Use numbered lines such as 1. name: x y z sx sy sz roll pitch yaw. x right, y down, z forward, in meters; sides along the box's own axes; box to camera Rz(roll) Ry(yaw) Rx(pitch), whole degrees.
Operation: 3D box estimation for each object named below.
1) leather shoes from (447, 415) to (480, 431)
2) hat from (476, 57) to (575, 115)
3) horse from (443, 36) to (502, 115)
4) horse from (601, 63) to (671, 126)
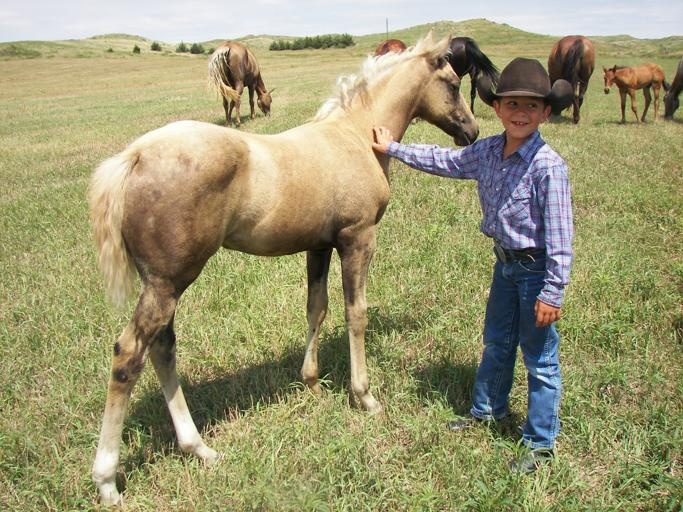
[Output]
1. leather shoes: 1.154 1.604 5.534 0.357 0.173 0.123 2 4 -21
2. hat: 1.709 -1.630 5.277 0.808 0.364 0.912 4 14 2
3. horse: 3.619 -5.729 16.760 0.767 2.223 3.252 -20 24 2
4. horse: 9.492 -5.273 18.402 2.705 1.825 0.637 -11 13 -14
